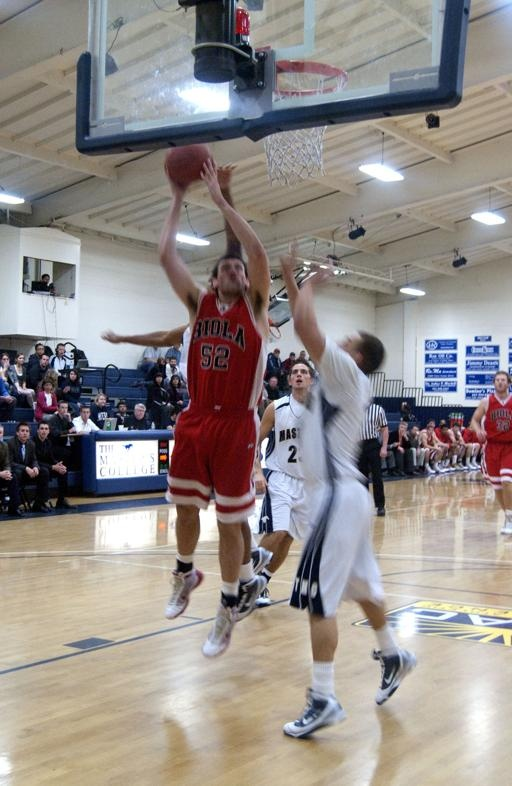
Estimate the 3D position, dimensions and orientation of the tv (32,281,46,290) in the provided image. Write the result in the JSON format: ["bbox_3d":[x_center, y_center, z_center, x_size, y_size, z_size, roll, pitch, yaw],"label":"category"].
[{"bbox_3d":[-5.657,-2.761,15.451,0.291,0.235,0.275,2,2,-16],"label":"tv"}]

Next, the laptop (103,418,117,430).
[{"bbox_3d":[-2.723,0.584,11.121,0.184,0.225,0.234,10,3,13],"label":"laptop"}]

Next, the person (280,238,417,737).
[{"bbox_3d":[0.249,0.271,1.962,0.263,1.538,0.483,-6,-10,36],"label":"person"}]

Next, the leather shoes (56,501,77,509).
[{"bbox_3d":[-2.917,1.717,9.162,0.321,0.137,0.110,-1,0,-1],"label":"leather shoes"}]

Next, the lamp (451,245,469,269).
[{"bbox_3d":[7.396,-5.001,21.622,0.578,0.801,0.547,-13,-39,23],"label":"lamp"}]

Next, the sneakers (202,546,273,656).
[{"bbox_3d":[-0.059,0.846,2.616,0.185,0.604,0.239,20,-22,10],"label":"sneakers"}]

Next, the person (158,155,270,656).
[{"bbox_3d":[-0.201,0.016,2.600,0.388,2.116,0.597,6,-10,-35],"label":"person"}]

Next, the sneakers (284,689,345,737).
[{"bbox_3d":[0.168,0.946,1.756,0.178,0.148,0.095,-1,-8,4],"label":"sneakers"}]

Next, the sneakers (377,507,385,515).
[{"bbox_3d":[1.891,1.785,9.016,0.101,0.094,0.169,7,-4,-14],"label":"sneakers"}]
